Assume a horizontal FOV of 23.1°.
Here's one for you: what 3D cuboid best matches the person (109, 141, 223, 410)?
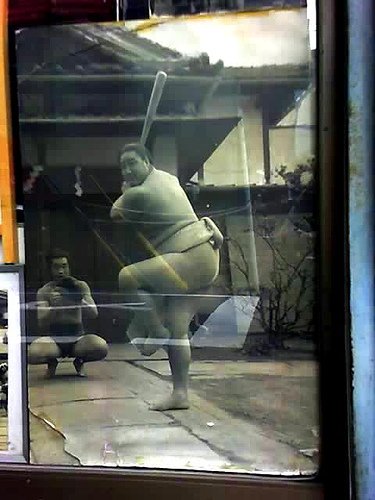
[{"bbox_3d":[-0.092,0.109,3.963,0.482,1.159,0.110,-2,-2,-5],"label":"person"}]
